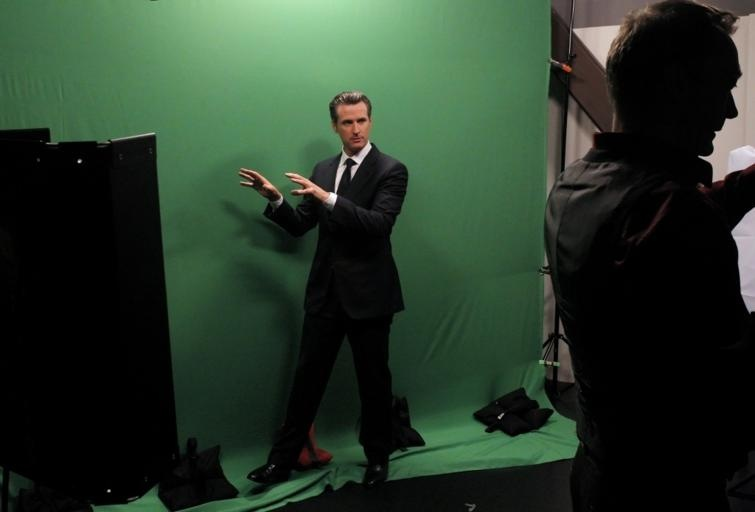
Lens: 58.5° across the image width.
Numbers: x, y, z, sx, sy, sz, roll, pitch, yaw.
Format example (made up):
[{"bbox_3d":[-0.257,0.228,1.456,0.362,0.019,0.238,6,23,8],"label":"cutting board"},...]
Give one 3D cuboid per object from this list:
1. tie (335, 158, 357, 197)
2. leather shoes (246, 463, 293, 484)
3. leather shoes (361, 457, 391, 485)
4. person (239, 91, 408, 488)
[{"bbox_3d":[-0.141,-0.354,3.123,0.051,0.236,0.063,7,-16,16],"label":"tie"},{"bbox_3d":[-0.493,1.008,3.096,0.241,0.084,0.104,-4,-26,-15],"label":"leather shoes"},{"bbox_3d":[-0.010,0.993,3.101,0.071,0.054,0.135,0,3,11],"label":"leather shoes"},{"bbox_3d":[-0.210,0.154,3.119,0.672,1.752,0.516,1,14,2],"label":"person"}]
